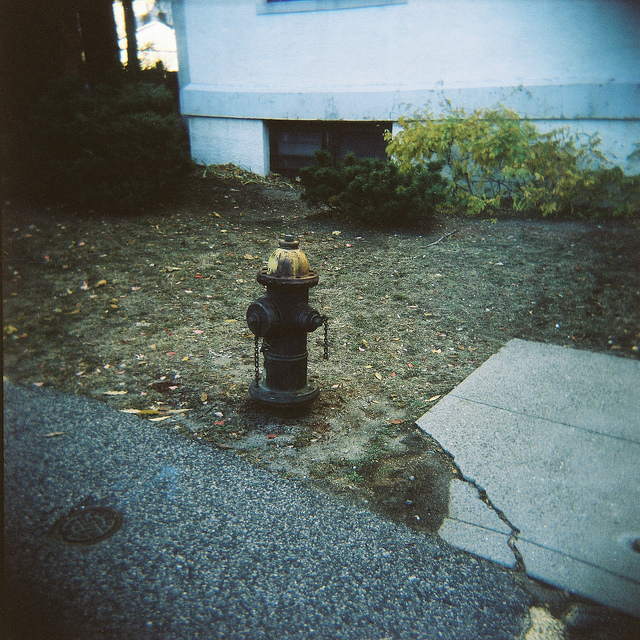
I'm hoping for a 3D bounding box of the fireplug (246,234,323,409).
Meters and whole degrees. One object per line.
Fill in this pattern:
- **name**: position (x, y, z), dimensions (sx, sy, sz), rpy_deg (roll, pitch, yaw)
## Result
- **fireplug**: position (-0.239, 0.037, 5.073), dimensions (0.536, 1.251, 0.345), rpy_deg (3, 18, -2)
